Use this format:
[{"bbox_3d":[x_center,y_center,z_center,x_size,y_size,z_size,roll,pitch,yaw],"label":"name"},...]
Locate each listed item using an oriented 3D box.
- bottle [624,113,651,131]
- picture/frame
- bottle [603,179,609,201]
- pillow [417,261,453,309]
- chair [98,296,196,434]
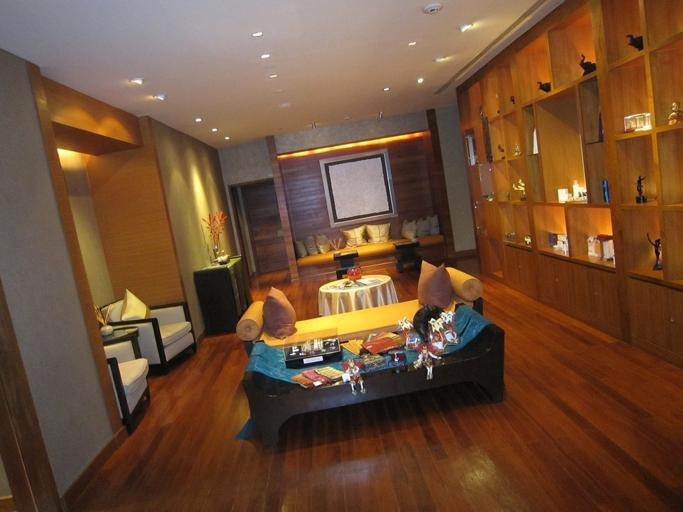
[{"bbox_3d":[2.710,-1.227,4.407,0.213,0.136,0.215,-3,5,0],"label":"bottle"},{"bbox_3d":[0.377,-1.538,10.241,1.463,1.554,0.120,-6,8,0],"label":"picture/frame"},{"bbox_3d":[2.630,-0.650,4.775,0.025,0.231,0.154,-6,7,17],"label":"bottle"},{"bbox_3d":[1.039,0.334,5.366,0.251,0.405,0.481,-2,7,-19],"label":"pillow"},{"bbox_3d":[-2.456,1.263,5.879,0.990,1.250,1.508,0,7,3],"label":"chair"}]
